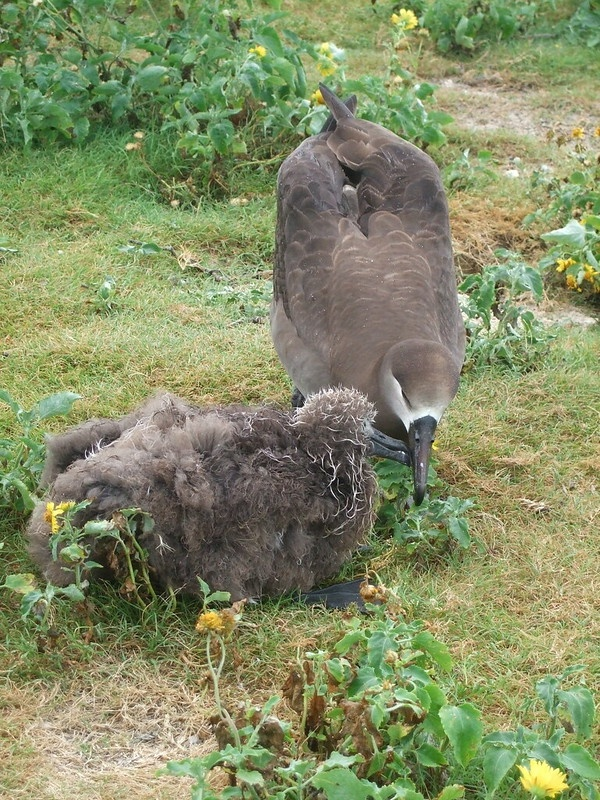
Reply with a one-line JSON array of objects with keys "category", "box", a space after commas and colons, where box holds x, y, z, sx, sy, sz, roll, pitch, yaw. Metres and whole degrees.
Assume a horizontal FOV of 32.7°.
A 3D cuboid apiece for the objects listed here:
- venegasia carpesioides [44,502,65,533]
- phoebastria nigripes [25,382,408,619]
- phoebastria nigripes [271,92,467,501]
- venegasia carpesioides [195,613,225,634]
[{"category": "venegasia carpesioides", "box": [-0.762, 0.365, 3.182, 0.041, 0.090, 0.093, 2, 15, 21]}, {"category": "phoebastria nigripes", "box": [-0.230, 0.303, 3.543, 1.257, 0.613, 0.677, 8, 38, -12]}, {"category": "phoebastria nigripes", "box": [0.269, -0.411, 4.084, 0.949, 1.448, 1.055, -3, 26, -10]}, {"category": "venegasia carpesioides", "box": [-0.247, 0.604, 2.813, 0.079, 0.031, 0.068, -2, 10, -11]}]
